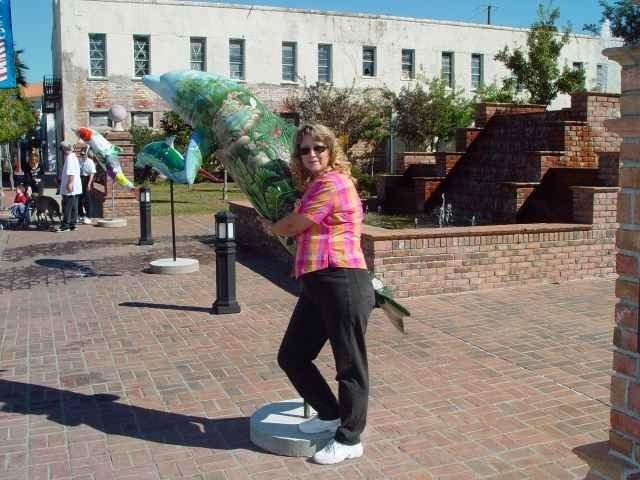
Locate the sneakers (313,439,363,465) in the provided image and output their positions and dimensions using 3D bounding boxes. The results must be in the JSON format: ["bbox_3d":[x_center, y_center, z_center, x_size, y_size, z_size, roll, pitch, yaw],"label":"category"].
[{"bbox_3d":[0.154,1.888,6.593,0.473,0.222,0.185,-1,2,-11],"label":"sneakers"}]

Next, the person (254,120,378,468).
[{"bbox_3d":[0.046,0.495,6.501,0.828,2.981,0.531,6,15,27],"label":"person"}]

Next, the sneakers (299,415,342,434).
[{"bbox_3d":[-0.001,1.699,6.822,0.374,0.157,0.149,2,4,-3],"label":"sneakers"}]

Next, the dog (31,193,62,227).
[{"bbox_3d":[-7.027,-0.779,19.236,1.305,0.667,0.313,15,8,30],"label":"dog"}]
